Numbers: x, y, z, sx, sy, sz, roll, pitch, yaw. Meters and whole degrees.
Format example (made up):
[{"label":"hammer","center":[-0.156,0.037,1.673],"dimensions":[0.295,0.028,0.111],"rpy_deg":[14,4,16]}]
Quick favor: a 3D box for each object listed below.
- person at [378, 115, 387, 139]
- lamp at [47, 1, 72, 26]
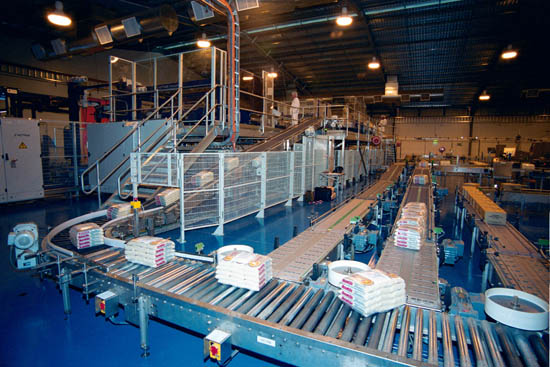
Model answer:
[{"label":"person","center":[6.720,-3.606,22.169],"dimensions":[0.456,1.420,2.604],"rpy_deg":[4,8,16]},{"label":"lamp","center":[-5.682,-4.494,9.244],"dimensions":[0.476,0.588,0.577],"rpy_deg":[-5,10,-33]}]
